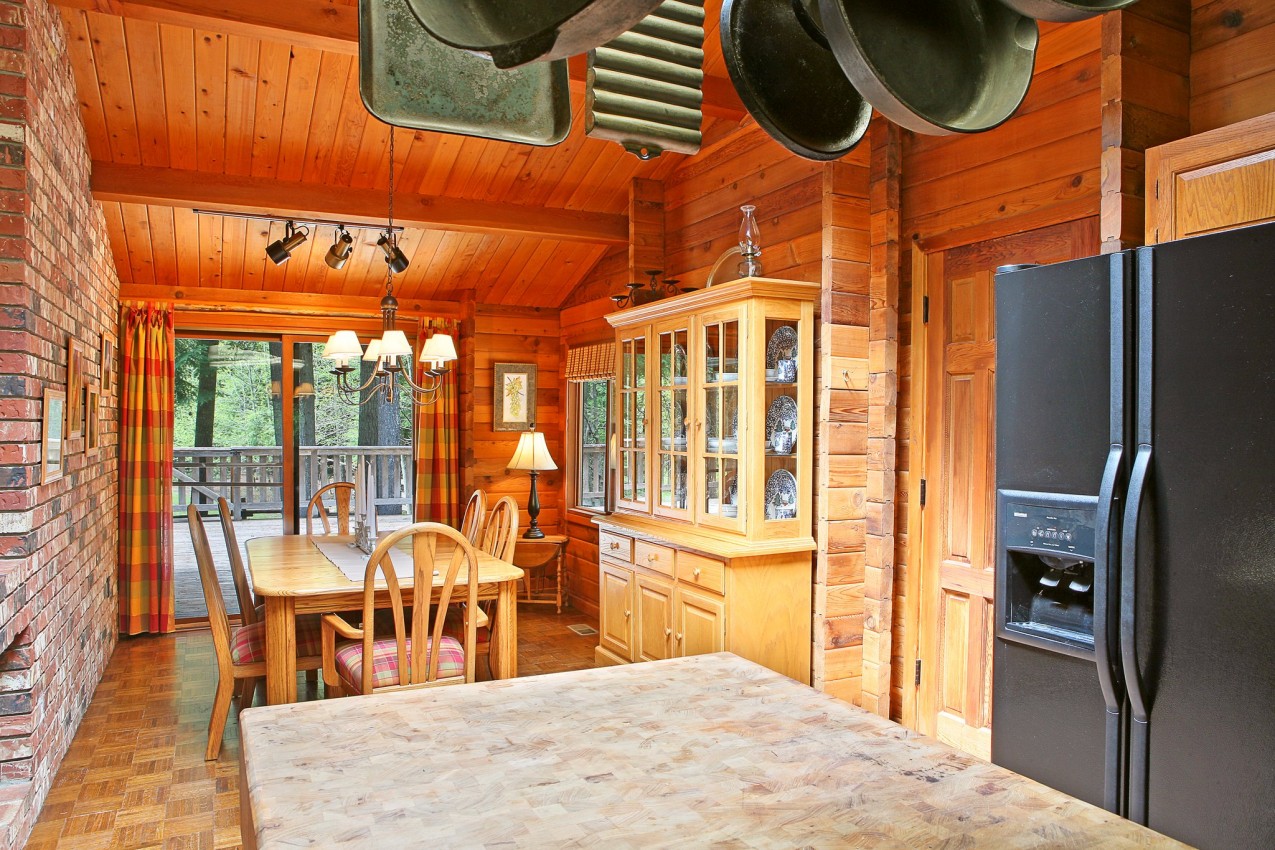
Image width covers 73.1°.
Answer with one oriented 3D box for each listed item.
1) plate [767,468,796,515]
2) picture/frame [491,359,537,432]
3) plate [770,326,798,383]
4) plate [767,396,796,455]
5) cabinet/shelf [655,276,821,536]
[{"bbox_3d":[0.720,0.345,4.319,0.162,0.239,0.069,-3,10,-30],"label":"plate"},{"bbox_3d":[-1.050,-0.234,7.363,0.381,0.564,0.184,-1,9,-20],"label":"picture/frame"},{"bbox_3d":[0.727,-0.347,4.376,0.171,0.259,0.072,2,-3,-1],"label":"plate"},{"bbox_3d":[0.708,0.009,4.292,0.197,0.256,0.055,6,6,24],"label":"plate"},{"bbox_3d":[0.545,-0.076,4.424,0.533,1.354,1.463,2,-3,-28],"label":"cabinet/shelf"}]
